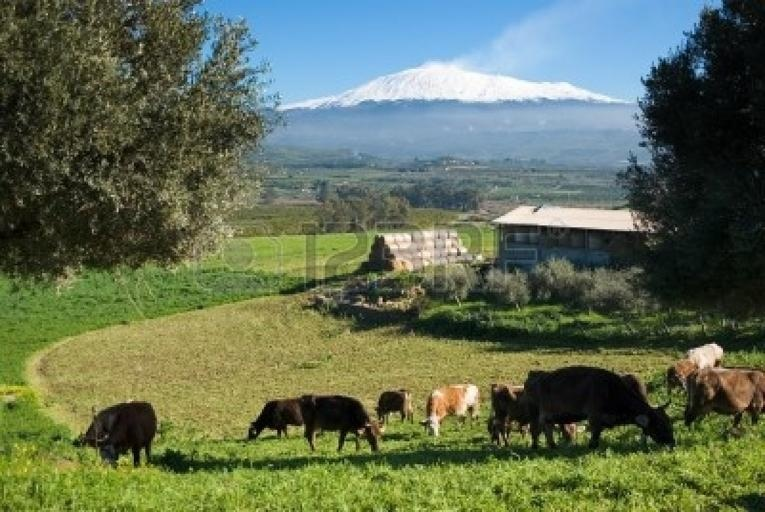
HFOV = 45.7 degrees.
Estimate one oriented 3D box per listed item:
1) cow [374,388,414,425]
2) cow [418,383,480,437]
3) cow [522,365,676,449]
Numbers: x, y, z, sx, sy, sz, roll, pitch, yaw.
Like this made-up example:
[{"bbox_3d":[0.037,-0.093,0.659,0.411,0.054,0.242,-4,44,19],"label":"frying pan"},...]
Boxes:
[{"bbox_3d":[0.487,6.523,39.352,1.561,1.318,1.305,-3,5,0],"label":"cow"},{"bbox_3d":[2.901,6.526,38.335,0.779,1.899,3.429,3,6,41],"label":"cow"},{"bbox_3d":[7.240,5.269,31.335,4.695,2.849,0.997,-1,5,15],"label":"cow"}]
